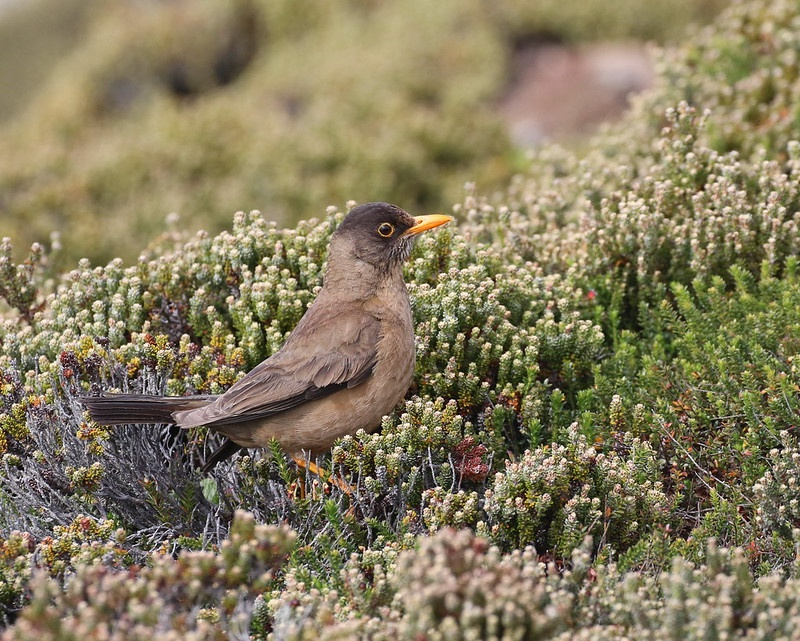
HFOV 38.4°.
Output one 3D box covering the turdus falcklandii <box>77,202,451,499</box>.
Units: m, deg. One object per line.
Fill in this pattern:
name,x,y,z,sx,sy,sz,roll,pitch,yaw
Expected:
turdus falcklandii,-0.867,0.245,7.552,2.397,0.978,1.881,-5,85,6
